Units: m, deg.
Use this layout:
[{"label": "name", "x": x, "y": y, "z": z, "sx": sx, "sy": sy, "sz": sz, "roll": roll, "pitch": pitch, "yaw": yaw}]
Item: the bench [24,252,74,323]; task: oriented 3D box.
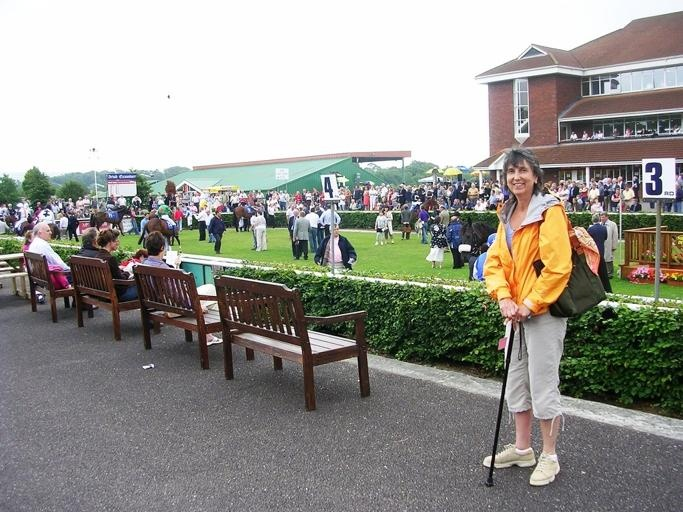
[{"label": "bench", "x": -5.951, "y": 0.563, "z": 10.569, "sx": 0.870, "sy": 1.330, "sz": 1.464, "roll": -2, "pitch": 5, "yaw": -45}]

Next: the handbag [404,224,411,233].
[{"label": "handbag", "x": 3.981, "y": -1.742, "z": 30.989, "sx": 0.475, "sy": 0.706, "sz": 0.381, "roll": 8, "pitch": 25, "yaw": 24}]

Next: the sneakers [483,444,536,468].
[{"label": "sneakers", "x": 1.367, "y": 1.614, "z": 4.131, "sx": 0.443, "sy": 0.226, "sz": 0.175, "roll": 2, "pitch": -2, "yaw": -1}]

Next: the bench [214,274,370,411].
[{"label": "bench", "x": -0.635, "y": 0.891, "z": 6.021, "sx": 1.946, "sy": 1.331, "sz": 0.790, "roll": 4, "pitch": 9, "yaw": 41}]

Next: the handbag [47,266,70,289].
[{"label": "handbag", "x": -5.628, "y": 0.442, "z": 10.107, "sx": 0.382, "sy": 0.520, "sz": 0.174, "roll": 0, "pitch": -11, "yaw": -16}]

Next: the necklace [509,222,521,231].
[{"label": "necklace", "x": 1.362, "y": -0.236, "z": 3.986, "sx": 0.059, "sy": 0.052, "sz": 0.066, "roll": -2, "pitch": 5, "yaw": 13}]

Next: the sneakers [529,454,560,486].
[{"label": "sneakers", "x": 1.542, "y": 1.627, "z": 3.852, "sx": 0.119, "sy": 0.162, "sz": 0.331, "roll": -4, "pitch": -3, "yaw": 32}]

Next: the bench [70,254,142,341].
[{"label": "bench", "x": -4.124, "y": 0.727, "z": 8.896, "sx": 0.499, "sy": 0.958, "sz": 1.199, "roll": -5, "pitch": 7, "yaw": -37}]

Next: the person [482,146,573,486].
[{"label": "person", "x": 1.445, "y": 0.434, "z": 3.977, "sx": 0.639, "sy": 2.561, "sz": 0.557, "roll": 5, "pitch": 9, "yaw": 43}]

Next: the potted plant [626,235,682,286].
[{"label": "potted plant", "x": 9.713, "y": 0.041, "z": 15.914, "sx": 2.079, "sy": 1.449, "sz": 2.094, "roll": -3, "pitch": 5, "yaw": -28}]

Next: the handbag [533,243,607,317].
[{"label": "handbag", "x": 1.681, "y": 0.175, "z": 3.802, "sx": 0.490, "sy": 0.571, "sz": 0.297, "roll": -26, "pitch": 1, "yaw": -38}]

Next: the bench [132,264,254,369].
[{"label": "bench", "x": -2.269, "y": 0.806, "z": 7.660, "sx": 1.720, "sy": 1.328, "sz": 1.057, "roll": 3, "pitch": 6, "yaw": 39}]
